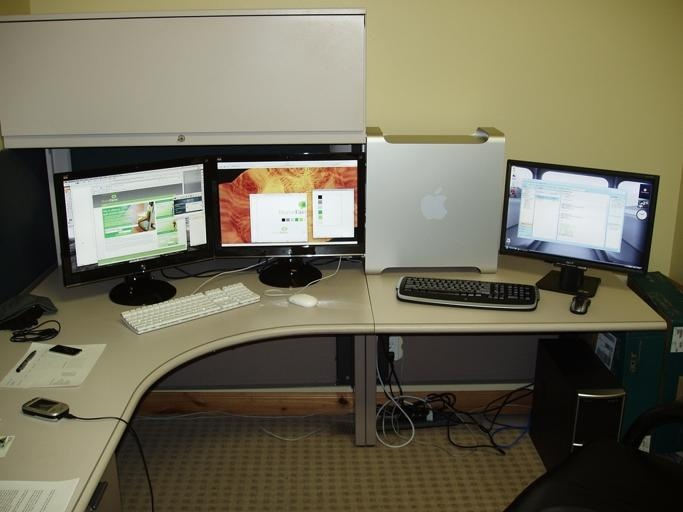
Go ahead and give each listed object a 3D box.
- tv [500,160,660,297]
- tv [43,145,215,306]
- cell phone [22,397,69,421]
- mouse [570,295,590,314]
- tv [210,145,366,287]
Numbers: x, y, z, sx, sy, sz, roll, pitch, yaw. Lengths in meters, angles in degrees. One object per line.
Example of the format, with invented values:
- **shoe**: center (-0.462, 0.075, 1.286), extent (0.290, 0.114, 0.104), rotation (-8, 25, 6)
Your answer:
- **tv**: center (0.965, -0.102, 2.273), extent (0.520, 0.477, 0.205), rotation (7, 24, 18)
- **tv**: center (-0.855, -0.100, 2.238), extent (0.590, 0.543, 0.249), rotation (-10, 20, -33)
- **cell phone**: center (-0.881, 0.449, 1.636), extent (0.113, 0.027, 0.064), rotation (10, 17, 5)
- **mouse**: center (0.922, 0.191, 2.143), extent (0.064, 0.054, 0.080), rotation (7, 17, 29)
- **tv**: center (-0.228, -0.166, 2.360), extent (0.586, 0.487, 0.247), rotation (-1, 20, -2)
